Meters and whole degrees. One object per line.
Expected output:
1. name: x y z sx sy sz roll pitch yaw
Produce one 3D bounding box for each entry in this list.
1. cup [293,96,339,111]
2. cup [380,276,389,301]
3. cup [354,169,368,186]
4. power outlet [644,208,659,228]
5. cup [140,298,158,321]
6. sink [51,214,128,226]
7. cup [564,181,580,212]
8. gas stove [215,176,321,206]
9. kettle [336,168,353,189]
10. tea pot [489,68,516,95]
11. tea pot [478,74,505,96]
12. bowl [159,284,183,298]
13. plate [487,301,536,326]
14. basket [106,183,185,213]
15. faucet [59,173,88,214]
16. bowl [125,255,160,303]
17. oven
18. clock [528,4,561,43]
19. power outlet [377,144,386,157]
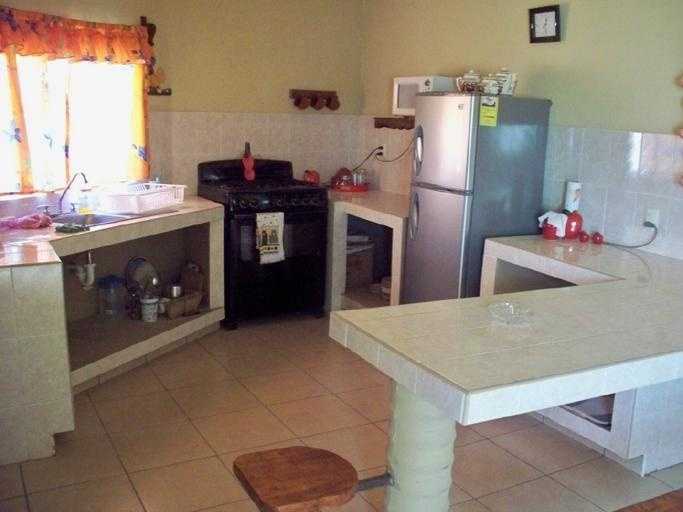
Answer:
1. cup: -0.230 -1.515 5.455 0.503 0.146 0.085 -11 18 -31
2. cup: 0.394 0.285 4.827 0.074 0.180 0.125 -2 16 -2
3. cup: 0.188 -0.792 5.487 0.197 0.185 0.145 1 7 3
4. power outlet: 2.003 -0.253 3.552 0.029 0.107 0.101 5 -1 -32
5. cup: -1.462 0.411 4.211 0.185 0.173 0.116 2 7 -19
6. sink: -1.770 -0.264 3.914 0.510 0.082 0.236 -3 15 -5
7. cup: 1.635 -0.421 3.896 0.112 0.209 0.136 5 17 22
8. gas stove: -0.608 -0.527 4.787 0.870 0.209 0.399 -8 16 -24
9. kettle: 0.032 -0.786 5.460 0.142 0.225 0.233 0 5 3
10. tea pot: 1.147 -1.256 3.955 0.217 0.211 0.177 -4 19 -10
11. tea pot: 1.038 -1.194 3.807 0.189 0.152 0.212 5 16 22
12. bowl: -1.387 0.280 4.490 0.140 0.093 0.103 -16 26 -42
13. plate: 0.728 0.239 2.363 0.184 0.034 0.220 3 16 18
14. basket: -1.517 -0.462 4.251 0.461 0.176 0.571 2 15 13
15. faucet: -1.985 -0.488 4.074 0.220 0.274 0.371 -9 17 -23
16. bowl: -1.585 0.177 4.387 0.249 0.266 0.488 -8 16 -21
17. oven: -0.634 -0.130 4.946 0.953 0.904 0.647 -6 12 -36
18. clock: 1.469 -1.683 3.969 0.032 0.300 0.313 -15 14 -32
19. power outlet: 0.405 -1.048 5.507 0.039 0.105 0.074 -5 13 -35
